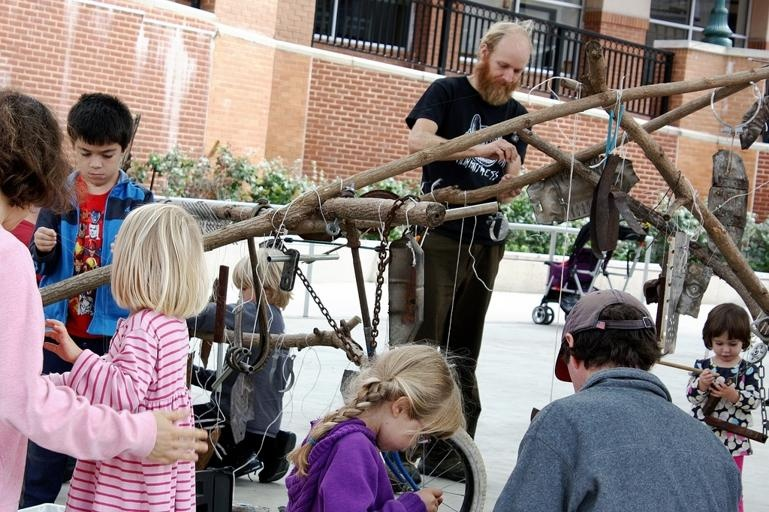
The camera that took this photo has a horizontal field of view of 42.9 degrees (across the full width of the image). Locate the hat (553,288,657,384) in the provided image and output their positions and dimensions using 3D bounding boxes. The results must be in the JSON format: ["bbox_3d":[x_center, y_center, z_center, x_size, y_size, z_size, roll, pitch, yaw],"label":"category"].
[{"bbox_3d":[1.000,0.342,4.688,0.309,0.273,0.454,8,-29,-6],"label":"hat"}]
